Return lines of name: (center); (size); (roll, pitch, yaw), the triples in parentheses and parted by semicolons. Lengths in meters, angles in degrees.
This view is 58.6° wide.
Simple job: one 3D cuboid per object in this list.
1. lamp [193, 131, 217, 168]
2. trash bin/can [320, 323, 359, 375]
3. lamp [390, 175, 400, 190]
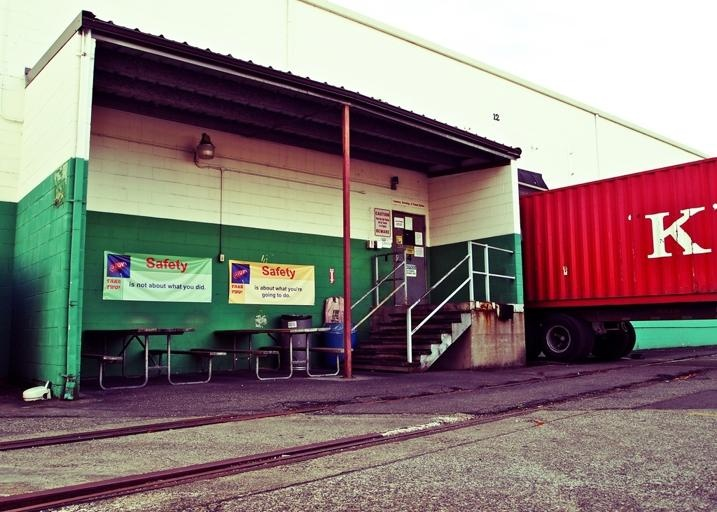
lamp: (-3.196, -2.338, 13.514); (0.408, 0.551, 0.555); (-1, -4, -19)
trash bin/can: (-0.502, 2.068, 14.560); (0.994, 1.018, 0.998); (1, -12, -1)
lamp: (1.007, -1.922, 16.899); (0.130, 0.419, 0.355); (-2, -2, 39)
